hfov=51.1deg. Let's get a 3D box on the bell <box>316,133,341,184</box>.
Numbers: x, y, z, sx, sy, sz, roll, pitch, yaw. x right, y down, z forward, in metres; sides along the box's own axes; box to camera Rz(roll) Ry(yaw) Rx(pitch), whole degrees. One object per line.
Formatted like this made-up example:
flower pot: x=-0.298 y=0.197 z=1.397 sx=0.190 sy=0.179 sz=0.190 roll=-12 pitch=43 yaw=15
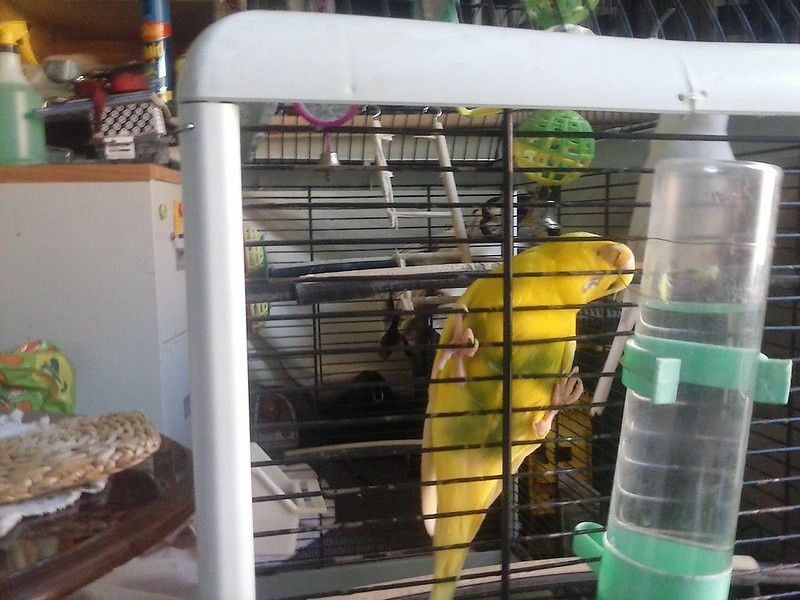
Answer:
bell: x=-0.135 y=-0.263 z=1.553 sx=0.057 sy=0.095 sz=0.050 roll=11 pitch=22 yaw=26
